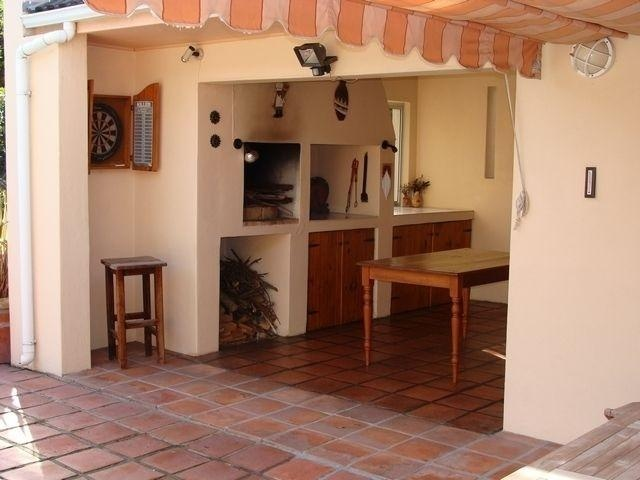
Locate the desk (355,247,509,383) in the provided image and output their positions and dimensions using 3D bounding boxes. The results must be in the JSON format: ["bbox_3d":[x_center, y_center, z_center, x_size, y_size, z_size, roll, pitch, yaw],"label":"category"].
[{"bbox_3d":[1.201,0.793,6.469,1.182,0.913,1.852,3,-1,23],"label":"desk"}]

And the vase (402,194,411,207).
[{"bbox_3d":[1.569,-0.729,10.126,0.207,0.208,0.196,0,-2,2],"label":"vase"}]

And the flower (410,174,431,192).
[{"bbox_3d":[1.850,-1.039,10.145,0.315,0.277,0.311,-2,-2,29],"label":"flower"}]

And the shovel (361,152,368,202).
[{"bbox_3d":[0.666,-0.930,8.258,0.127,0.739,0.089,4,6,28],"label":"shovel"}]

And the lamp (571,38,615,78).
[{"bbox_3d":[1.966,-1.293,3.916,0.245,0.225,0.097,15,19,37],"label":"lamp"}]

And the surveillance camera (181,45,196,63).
[{"bbox_3d":[-1.483,-2.052,6.075,0.099,0.161,0.290,-3,7,-37],"label":"surveillance camera"}]

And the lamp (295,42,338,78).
[{"bbox_3d":[-0.047,-1.680,5.133,0.284,0.261,0.356,8,16,35],"label":"lamp"}]

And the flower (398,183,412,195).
[{"bbox_3d":[1.567,-0.928,10.131,0.229,0.184,0.109,2,5,16],"label":"flower"}]

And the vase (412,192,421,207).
[{"bbox_3d":[1.763,-0.733,10.077,0.198,0.264,0.141,2,5,9],"label":"vase"}]

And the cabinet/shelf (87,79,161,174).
[{"bbox_3d":[-2.390,-1.246,6.287,0.875,0.875,0.714,-7,11,-43],"label":"cabinet/shelf"}]
